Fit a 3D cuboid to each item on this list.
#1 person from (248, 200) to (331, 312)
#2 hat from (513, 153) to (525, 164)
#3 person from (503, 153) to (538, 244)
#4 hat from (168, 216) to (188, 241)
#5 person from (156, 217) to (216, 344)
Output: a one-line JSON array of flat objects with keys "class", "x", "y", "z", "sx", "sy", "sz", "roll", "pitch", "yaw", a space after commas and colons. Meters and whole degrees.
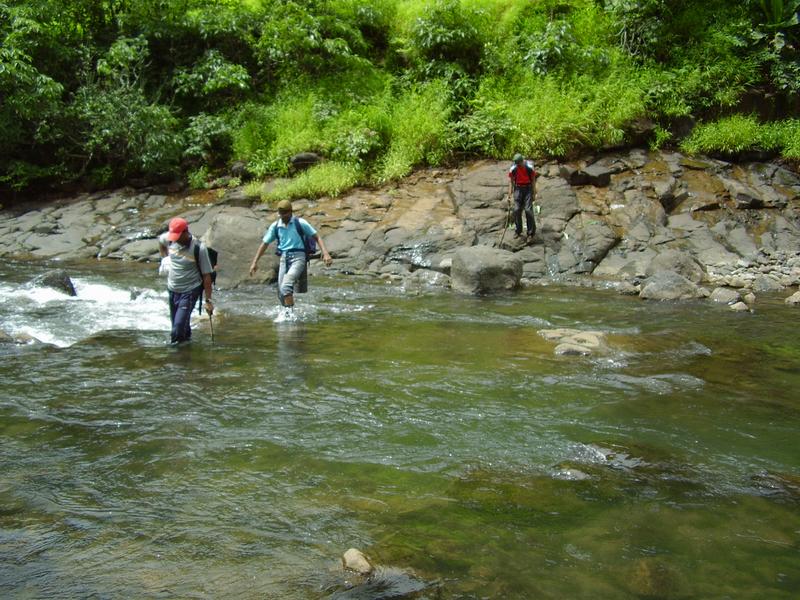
[{"class": "person", "x": -1.983, "y": -0.837, "z": 13.037, "sx": 0.946, "sy": 1.929, "sz": 0.827, "roll": 1, "pitch": 8, "yaw": -9}, {"class": "hat", "x": 2.936, "y": -3.411, "z": 17.107, "sx": 0.298, "sy": 0.232, "sz": 0.357, "roll": 1, "pitch": 3, "yaw": 14}, {"class": "person", "x": 3.068, "y": -2.529, "z": 17.651, "sx": 0.715, "sy": 2.094, "sz": 1.156, "roll": 4, "pitch": 8, "yaw": 9}, {"class": "hat", "x": -3.380, "y": -1.076, "z": 10.873, "sx": 0.266, "sy": 0.350, "sz": 0.373, "roll": 0, "pitch": 7, "yaw": -16}, {"class": "person", "x": -3.342, "y": -0.285, "z": 11.199, "sx": 0.785, "sy": 1.972, "sz": 0.726, "roll": 0, "pitch": 8, "yaw": -13}]
